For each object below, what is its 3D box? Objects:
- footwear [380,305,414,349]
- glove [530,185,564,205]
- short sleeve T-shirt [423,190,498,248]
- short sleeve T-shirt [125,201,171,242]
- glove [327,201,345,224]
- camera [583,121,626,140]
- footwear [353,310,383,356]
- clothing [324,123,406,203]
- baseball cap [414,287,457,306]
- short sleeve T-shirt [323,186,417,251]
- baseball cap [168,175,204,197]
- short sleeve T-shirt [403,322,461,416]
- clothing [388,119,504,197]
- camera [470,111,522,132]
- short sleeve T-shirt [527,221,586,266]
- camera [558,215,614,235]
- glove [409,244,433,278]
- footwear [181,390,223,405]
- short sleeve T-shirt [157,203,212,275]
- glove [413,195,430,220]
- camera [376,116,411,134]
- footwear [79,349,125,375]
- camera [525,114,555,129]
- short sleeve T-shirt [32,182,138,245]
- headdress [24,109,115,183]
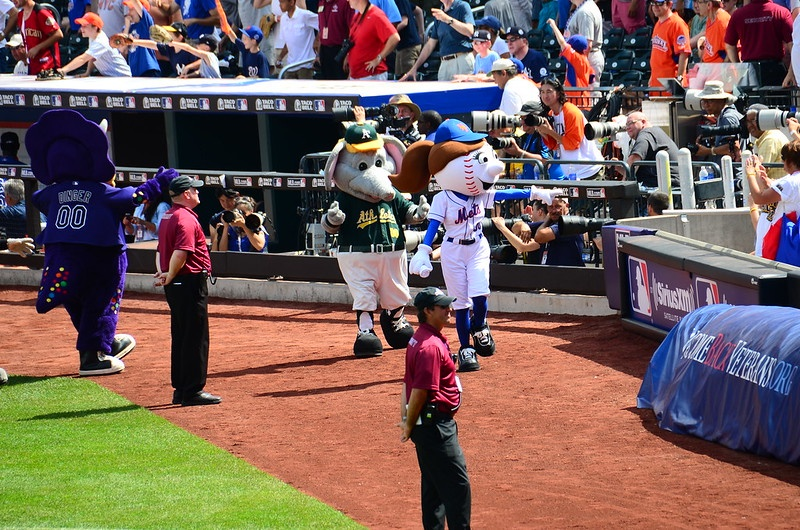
[{"bbox_3d":[-0.041,0.719,15.139,0.275,0.355,0.570,-15,21,-42],"label":"footwear"},{"bbox_3d":[1.731,-0.836,14.478,0.455,0.204,0.203,4,-15,9],"label":"glove"},{"bbox_3d":[0.670,-0.558,14.382,1.153,0.757,0.492,-4,1,-26],"label":"short sleeve T-shirt"},{"bbox_3d":[-3.889,-0.560,19.269,0.632,0.861,0.502,5,3,14],"label":"short sleeve T-shirt"},{"bbox_3d":[-0.743,-0.606,14.799,0.193,0.282,0.284,1,5,22],"label":"glove"},{"bbox_3d":[2.805,-1.856,17.339,0.206,0.259,0.850,6,6,36],"label":"camera"},{"bbox_3d":[-0.386,0.809,14.987,0.357,0.538,0.346,-1,5,-3],"label":"footwear"},{"bbox_3d":[-0.403,-1.212,14.961,0.982,0.895,1.112,-4,24,-13],"label":"clothing"},{"bbox_3d":[0.292,0.294,11.176,0.263,0.140,0.178,-7,2,-1],"label":"baseball cap"},{"bbox_3d":[-0.349,-0.563,15.098,1.156,1.128,0.647,3,-22,-13],"label":"short sleeve T-shirt"},{"bbox_3d":[-2.307,-0.845,13.545,0.314,0.141,0.199,-19,19,-29],"label":"baseball cap"},{"bbox_3d":[0.338,0.909,10.930,0.571,0.964,1.066,-1,0,-2],"label":"short sleeve T-shirt"},{"bbox_3d":[0.555,-1.208,14.279,1.256,0.869,0.499,3,7,43],"label":"clothing"},{"bbox_3d":[1.198,-1.790,15.772,0.686,0.266,0.296,-2,2,-28],"label":"camera"},{"bbox_3d":[2.070,-0.277,16.063,0.864,0.499,0.901,2,13,-20],"label":"short sleeve T-shirt"},{"bbox_3d":[2.328,-0.493,15.493,0.848,0.261,0.259,-3,3,-31],"label":"camera"},{"bbox_3d":[0.225,-0.037,14.110,0.244,0.361,0.147,31,-46,-29],"label":"glove"},{"bbox_3d":[-2.151,1.453,13.677,0.470,0.203,0.155,-1,3,-9],"label":"footwear"},{"bbox_3d":[-2.209,-0.289,13.434,0.586,0.896,1.052,-3,5,-30],"label":"short sleeve T-shirt"},{"bbox_3d":[0.255,-0.682,14.908,0.168,0.290,0.128,8,-5,-30],"label":"glove"},{"bbox_3d":[-0.095,-1.789,15.964,0.412,0.221,0.562,2,3,-2],"label":"camera"},{"bbox_3d":[-3.457,1.137,14.602,0.557,0.381,0.213,-3,9,-14],"label":"footwear"},{"bbox_3d":[1.872,-1.957,17.149,0.163,0.214,0.546,9,2,37],"label":"camera"},{"bbox_3d":[-3.556,-0.582,14.148,1.137,0.708,0.705,0,-7,2],"label":"short sleeve T-shirt"},{"bbox_3d":[-3.720,-1.339,14.191,0.944,0.797,0.272,0,5,12],"label":"headdress"}]
